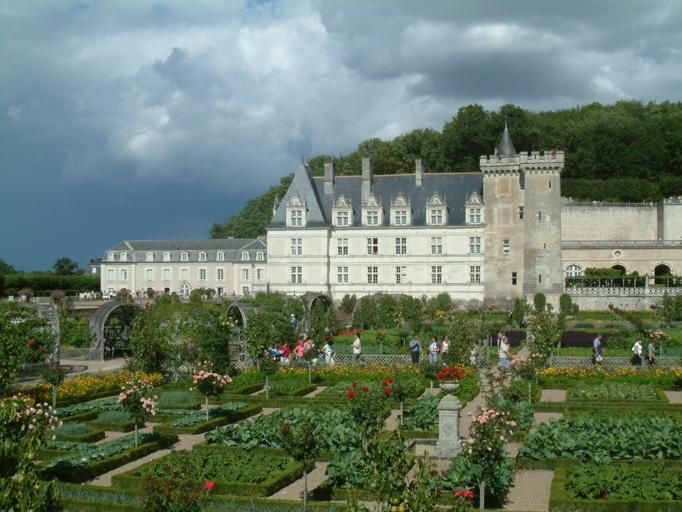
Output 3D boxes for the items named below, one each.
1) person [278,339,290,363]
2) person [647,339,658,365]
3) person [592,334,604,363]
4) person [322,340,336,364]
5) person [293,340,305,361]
[{"bbox_3d":[-3.005,5.213,55.983,0.581,1.118,1.392,-2,-3,-4],"label":"person"},{"bbox_3d":[16.094,4.887,53.799,0.395,1.250,3.277,-3,-3,17],"label":"person"},{"bbox_3d":[13.142,4.719,53.192,0.530,1.399,1.353,-3,-3,17],"label":"person"},{"bbox_3d":[-0.616,5.047,54.892,0.606,1.296,1.195,-2,-3,-3],"label":"person"},{"bbox_3d":[-2.122,4.989,55.111,0.477,0.907,1.354,-2,-3,-2],"label":"person"}]
